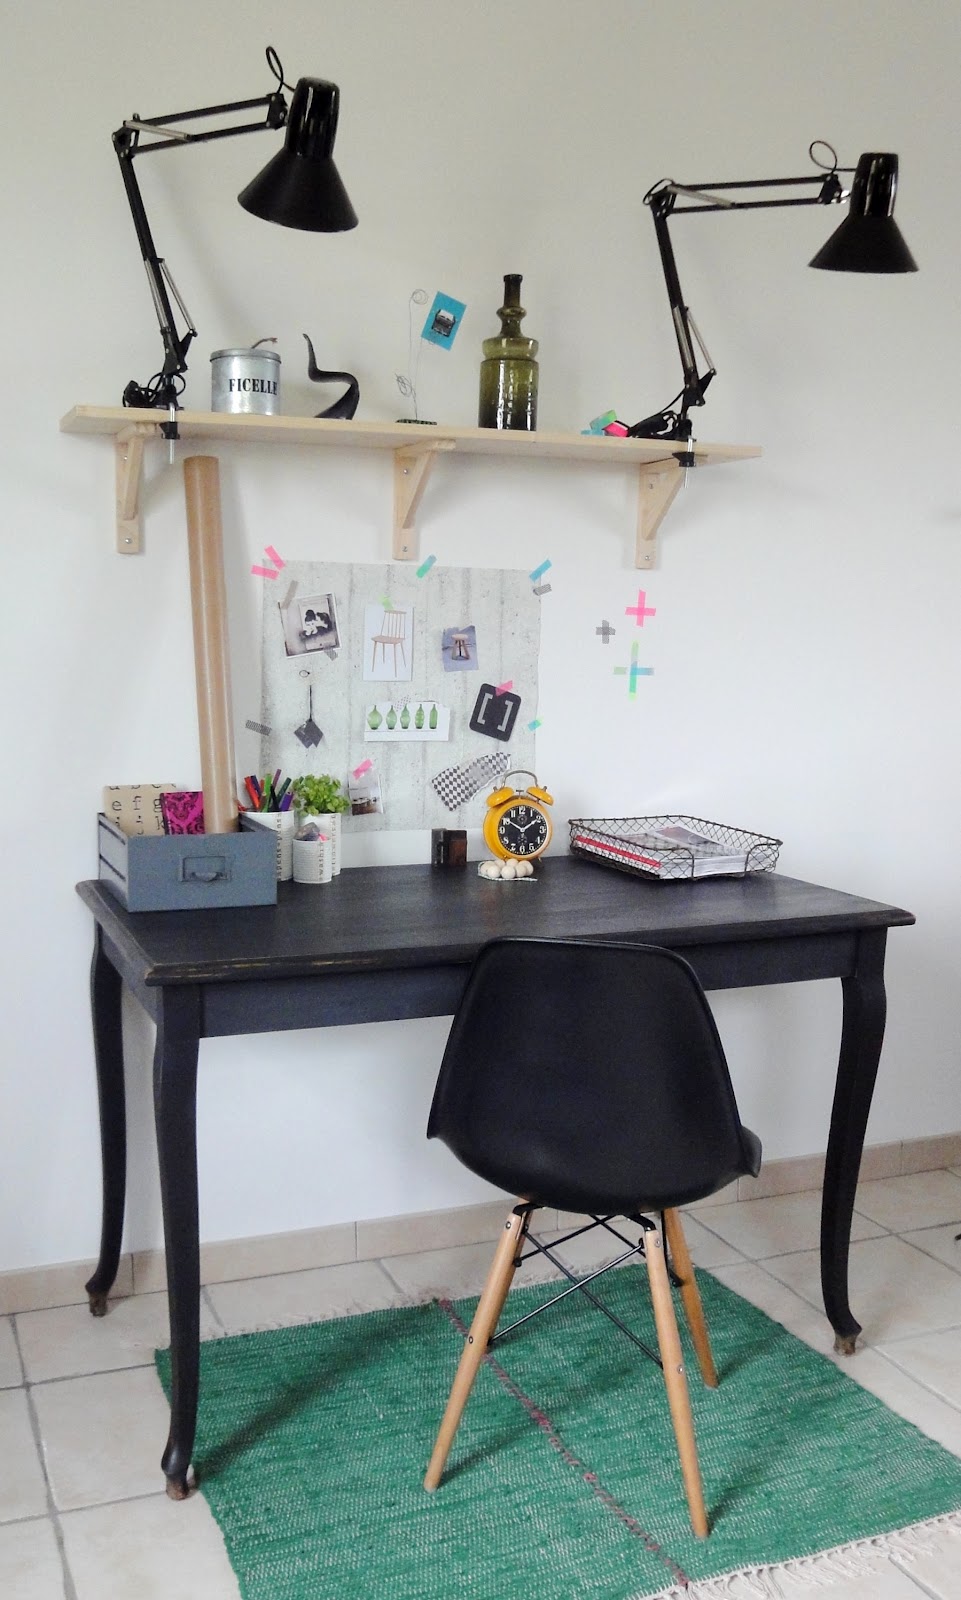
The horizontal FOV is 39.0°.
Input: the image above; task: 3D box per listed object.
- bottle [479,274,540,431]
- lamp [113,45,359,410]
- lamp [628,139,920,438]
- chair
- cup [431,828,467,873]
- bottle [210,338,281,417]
[{"bbox_3d":[0.045,-0.746,2.288,0.096,0.272,0.229,1,6,-1],"label":"bottle"},{"bbox_3d":[-0.366,-0.866,1.980,0.324,0.601,0.457,-1,6,-15],"label":"lamp"},{"bbox_3d":[0.475,-0.821,2.209,0.468,0.473,0.203,3,12,16],"label":"lamp"},{"bbox_3d":[0.146,0.528,1.803,0.433,0.754,0.329,1,6,-2],"label":"chair"},{"bbox_3d":[-0.058,0.084,2.446,0.085,0.086,0.063,0,2,-13],"label":"cup"},{"bbox_3d":[-0.349,-0.636,2.084,0.111,0.116,0.121,0,5,-3],"label":"bottle"}]
